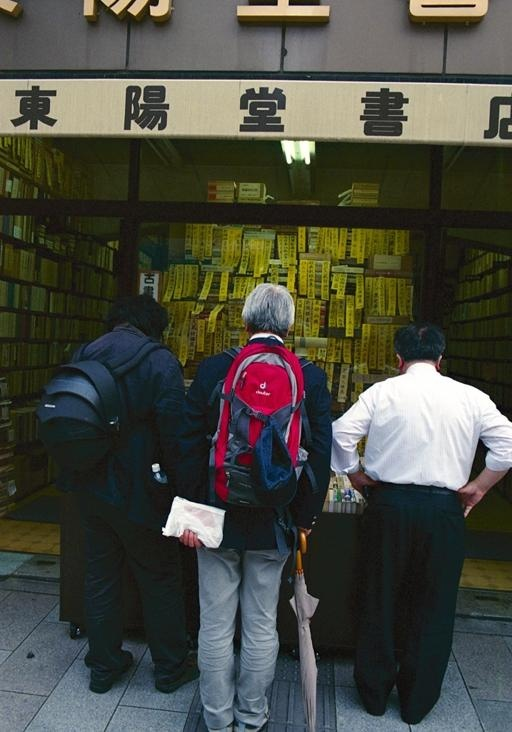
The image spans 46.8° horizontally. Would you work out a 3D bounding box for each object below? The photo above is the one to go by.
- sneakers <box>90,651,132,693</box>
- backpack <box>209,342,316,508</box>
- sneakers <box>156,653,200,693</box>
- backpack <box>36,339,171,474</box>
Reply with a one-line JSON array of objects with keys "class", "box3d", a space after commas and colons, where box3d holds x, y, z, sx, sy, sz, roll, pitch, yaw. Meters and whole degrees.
[{"class": "sneakers", "box3d": [-0.563, 1.198, 2.389, 0.073, 0.105, 0.232, 4, 13, 15]}, {"class": "backpack", "box3d": [0.003, 0.194, 1.843, 0.291, 0.522, 0.232, 1, 3, -3]}, {"class": "sneakers", "box3d": [-0.307, 1.230, 2.420, 0.073, 0.150, 0.213, 6, 15, 25]}, {"class": "backpack", "box3d": [-0.586, 0.110, 2.239, 0.334, 0.413, 0.438, 5, 27, 38]}]
